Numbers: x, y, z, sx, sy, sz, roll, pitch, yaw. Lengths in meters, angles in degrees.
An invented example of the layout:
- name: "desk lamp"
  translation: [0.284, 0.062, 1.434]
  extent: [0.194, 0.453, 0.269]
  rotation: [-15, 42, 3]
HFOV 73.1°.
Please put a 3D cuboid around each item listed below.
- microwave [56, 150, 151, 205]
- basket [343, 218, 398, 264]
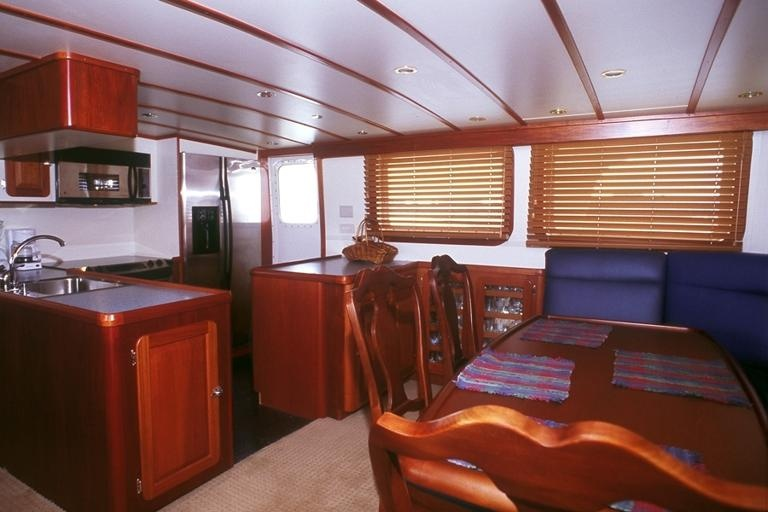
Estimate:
- name: "microwave"
  translation: [-2.546, -0.760, 4.953]
  extent: [0.847, 0.498, 0.458]
  rotation: [3, 17, -6]
- name: "basket"
  translation: [-0.122, -0.146, 4.920]
  extent: [0.532, 0.410, 0.333]
  rotation: [2, 7, 44]
